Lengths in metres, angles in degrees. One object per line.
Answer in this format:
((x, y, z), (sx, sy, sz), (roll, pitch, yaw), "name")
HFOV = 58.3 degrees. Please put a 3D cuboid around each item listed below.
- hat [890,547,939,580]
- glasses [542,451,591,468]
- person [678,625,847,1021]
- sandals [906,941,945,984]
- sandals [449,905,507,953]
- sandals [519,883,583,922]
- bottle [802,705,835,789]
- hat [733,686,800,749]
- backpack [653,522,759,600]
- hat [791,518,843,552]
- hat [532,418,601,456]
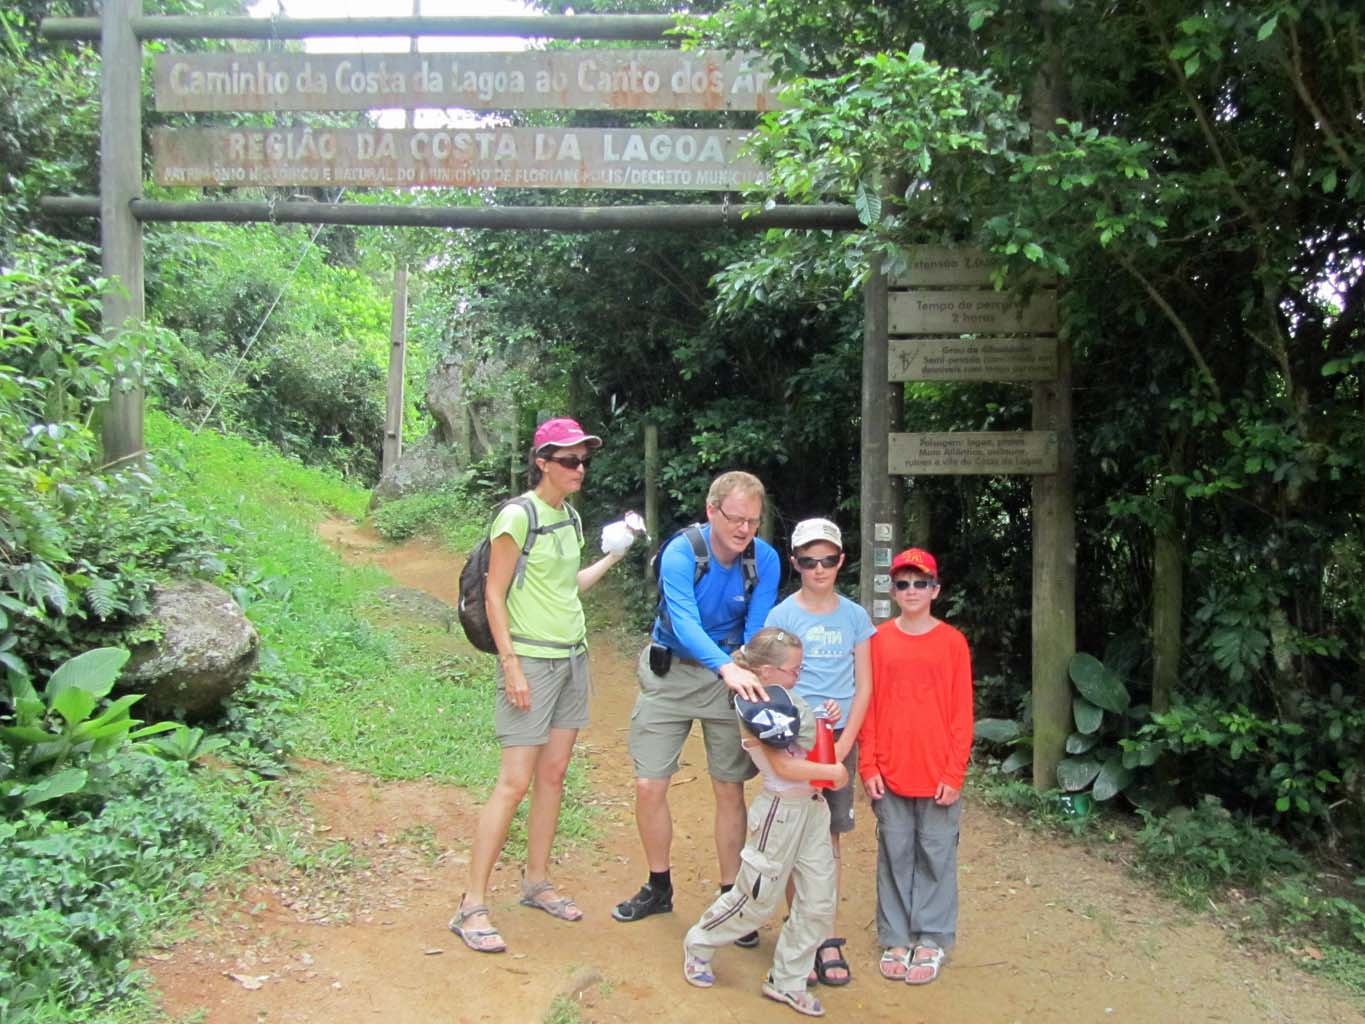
((1.226, 0.262, 6.511), (0.216, 0.129, 0.245), (4, 2, 10), "hat")
((-0.635, -0.278, 6.605), (0.229, 0.086, 0.116), (3, 2, -24), "glasses")
((0.427, 1.533, 6.092), (0.730, 1.921, 0.477), (3, 3, 7), "person")
((1.260, 2.366, 6.427), (0.170, 0.186, 0.146), (4, 2, 12), "sandals")
((-1.094, 2.197, 6.506), (0.319, 0.220, 0.193), (3, 2, -2), "sandals")
((-0.739, 2.170, 6.815), (0.333, 0.132, 0.154), (9, 8, 27), "sandals")
((0.701, 1.228, 6.176), (0.132, 0.447, 0.412), (3, 2, 8), "bottle")
((0.414, 0.988, 5.919), (0.328, 0.292, 0.176), (4, 2, 3), "hat")
((0.122, 0.215, 6.436), (0.387, 0.482, 0.412), (13, 6, 37), "backpack")
((0.687, 0.123, 6.300), (0.243, 0.172, 0.224), (4, 2, 1), "hat")
((-0.652, -0.410, 6.636), (0.294, 0.156, 0.227), (-4, -3, 14), "hat")
